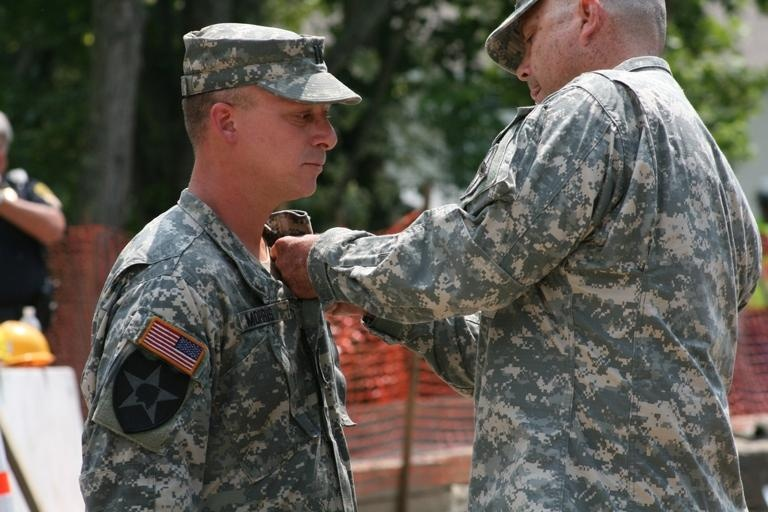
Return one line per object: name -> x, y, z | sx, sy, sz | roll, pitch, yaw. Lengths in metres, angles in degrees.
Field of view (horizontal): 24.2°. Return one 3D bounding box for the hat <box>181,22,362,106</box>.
hat -> -1.094, -1.681, 15.572 | 1.204, 0.458, 0.787 | 3, 4, 10
